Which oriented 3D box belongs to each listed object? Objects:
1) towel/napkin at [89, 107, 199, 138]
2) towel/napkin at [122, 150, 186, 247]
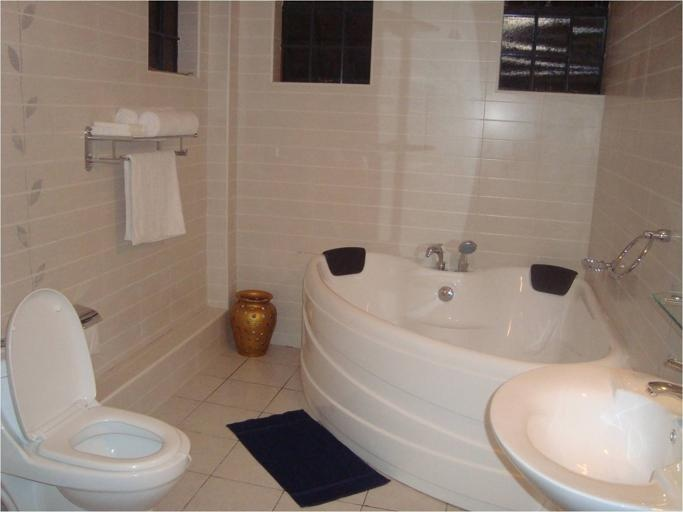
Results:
[{"bbox_3d":[-1.053,-0.713,2.684,0.232,0.153,0.632,4,14,17],"label":"towel/napkin"},{"bbox_3d":[-1.048,-0.330,2.746,0.143,0.474,0.407,7,15,24],"label":"towel/napkin"}]
